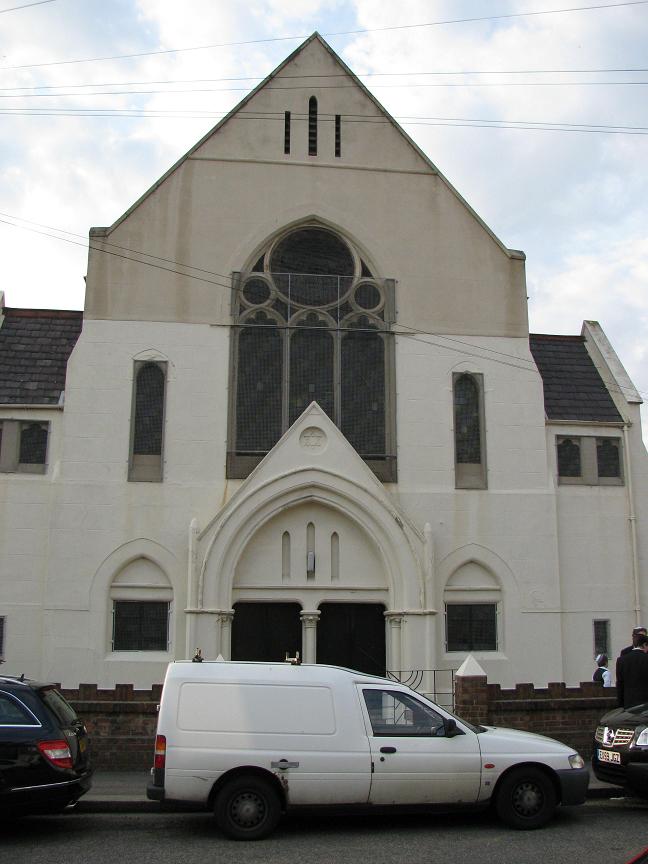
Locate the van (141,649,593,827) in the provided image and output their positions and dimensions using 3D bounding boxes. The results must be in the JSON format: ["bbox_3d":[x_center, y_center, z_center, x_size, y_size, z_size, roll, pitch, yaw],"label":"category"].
[{"bbox_3d":[0.495,3.524,10.366,4.624,1.620,1.965,-1,-11,-4],"label":"van"}]
